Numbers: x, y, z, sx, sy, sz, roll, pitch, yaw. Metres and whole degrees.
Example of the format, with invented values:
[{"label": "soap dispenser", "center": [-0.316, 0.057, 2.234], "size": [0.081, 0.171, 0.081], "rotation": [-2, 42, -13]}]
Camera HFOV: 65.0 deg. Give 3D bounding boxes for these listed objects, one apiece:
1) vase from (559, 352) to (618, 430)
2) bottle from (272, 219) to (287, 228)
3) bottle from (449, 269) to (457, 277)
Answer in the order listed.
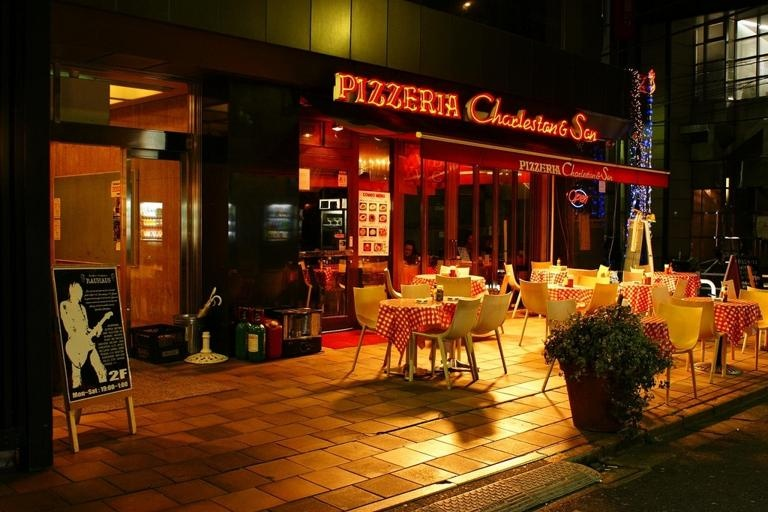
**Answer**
[{"label": "vase", "center": [2.238, 1.566, 6.795], "size": [0.739, 0.563, 0.716], "rotation": [1, -4, -1]}, {"label": "bottle", "center": [-1.734, -0.530, 10.038], "size": [0.267, 0.115, 0.022], "rotation": [-3, 7, -35]}, {"label": "bottle", "center": [1.350, 0.327, 11.749], "size": [0.126, 0.134, 0.123], "rotation": [1, -2, 5]}]
